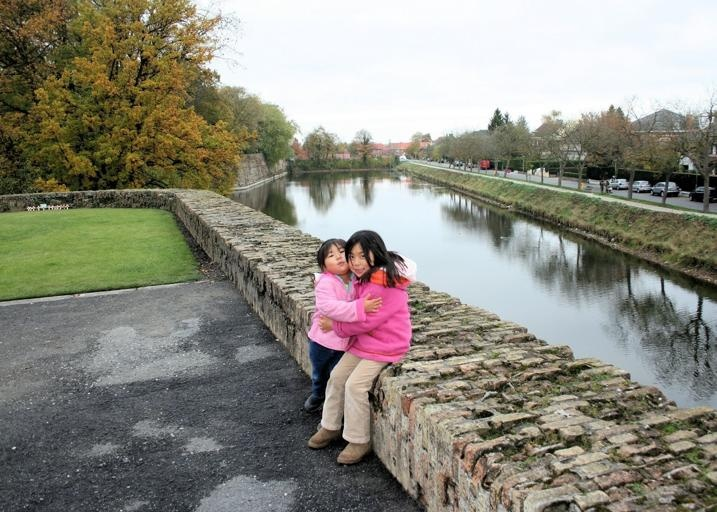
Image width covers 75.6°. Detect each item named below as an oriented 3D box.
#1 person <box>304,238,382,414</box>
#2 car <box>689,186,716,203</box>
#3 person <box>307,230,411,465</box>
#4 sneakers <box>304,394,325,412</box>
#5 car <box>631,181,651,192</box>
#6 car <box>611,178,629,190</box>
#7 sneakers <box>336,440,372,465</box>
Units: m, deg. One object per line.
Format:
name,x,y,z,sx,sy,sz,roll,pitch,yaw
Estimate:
person,-0.119,0.800,4.558,0.834,1.957,0.785,0,-6,-2
car,24.793,-4.356,32.993,1.054,0.942,1.844,2,17,7
person,0.016,0.845,4.426,1.040,2.040,0.815,1,2,-22
sneakers,-0.421,1.606,4.985,0.310,0.226,0.113,1,11,0
car,25.781,-6.220,41.848,1.429,0.827,2.415,10,16,30
car,25.788,-7.002,45.475,1.444,0.904,2.410,9,16,28
sneakers,-0.025,1.827,4.287,0.319,0.141,0.151,3,-1,-38
